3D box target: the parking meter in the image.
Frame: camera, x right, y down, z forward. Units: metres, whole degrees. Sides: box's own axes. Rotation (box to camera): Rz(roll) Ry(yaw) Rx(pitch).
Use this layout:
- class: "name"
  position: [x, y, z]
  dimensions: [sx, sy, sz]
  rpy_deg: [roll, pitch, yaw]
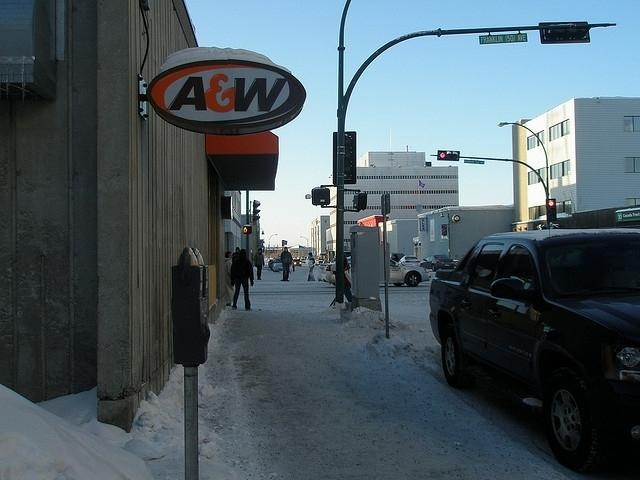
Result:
- class: "parking meter"
  position: [-1.013, 0.987, 5.076]
  dimensions: [0.278, 1.867, 0.410]
  rpy_deg: [0, 4, -13]

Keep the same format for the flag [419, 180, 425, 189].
- class: "flag"
  position: [22.537, -12.495, 146.411]
  dimensions: [1.505, 1.656, 0.598]
  rpy_deg: [34, -37, -31]

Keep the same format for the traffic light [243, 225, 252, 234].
- class: "traffic light"
  position: [-3.375, -0.519, 30.231]
  dimensions: [0.278, 0.582, 0.531]
  rpy_deg: [-2, -1, 36]

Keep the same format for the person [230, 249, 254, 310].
- class: "person"
  position: [-2.109, 1.005, 17.527]
  dimensions: [0.531, 1.736, 0.340]
  rpy_deg: [-1, 20, -8]
